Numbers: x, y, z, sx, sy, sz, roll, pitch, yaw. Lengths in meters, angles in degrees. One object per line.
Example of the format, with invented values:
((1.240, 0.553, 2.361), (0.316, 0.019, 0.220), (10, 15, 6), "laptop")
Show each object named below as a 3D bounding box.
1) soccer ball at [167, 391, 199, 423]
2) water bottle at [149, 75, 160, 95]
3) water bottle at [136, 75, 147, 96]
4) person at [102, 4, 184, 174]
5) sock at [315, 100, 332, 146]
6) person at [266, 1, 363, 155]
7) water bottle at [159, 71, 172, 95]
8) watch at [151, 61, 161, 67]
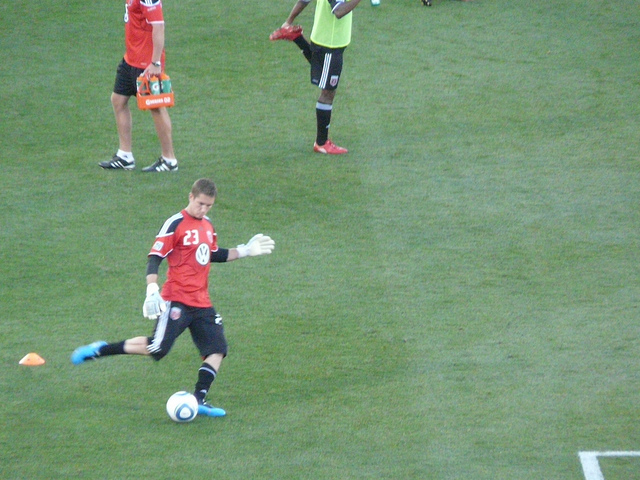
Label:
((-1.315, 1.616, 11.769), (0.293, 0.293, 0.153), (2, 22, -7), "soccer ball")
((-1.866, -1.778, 13.846), (0.115, 0.199, 0.069), (2, 22, -8), "water bottle")
((-2.021, -1.777, 13.870), (0.084, 0.197, 0.183), (-10, 27, -31), "water bottle")
((-2.079, -1.952, 14.501), (0.896, 2.034, 1.555), (1, 23, -10), "person")
((0.029, -1.403, 14.575), (0.165, 0.557, 0.171), (4, 22, -2), "sock")
((-0.061, -1.955, 15.178), (1.033, 1.977, 0.915), (-14, 43, -15), "person")
((-1.759, -1.820, 13.934), (0.130, 0.212, 0.197), (1, 23, -9), "water bottle")
((-1.828, -2.017, 13.804), (0.069, 0.051, 0.026), (8, 62, 13), "watch")
